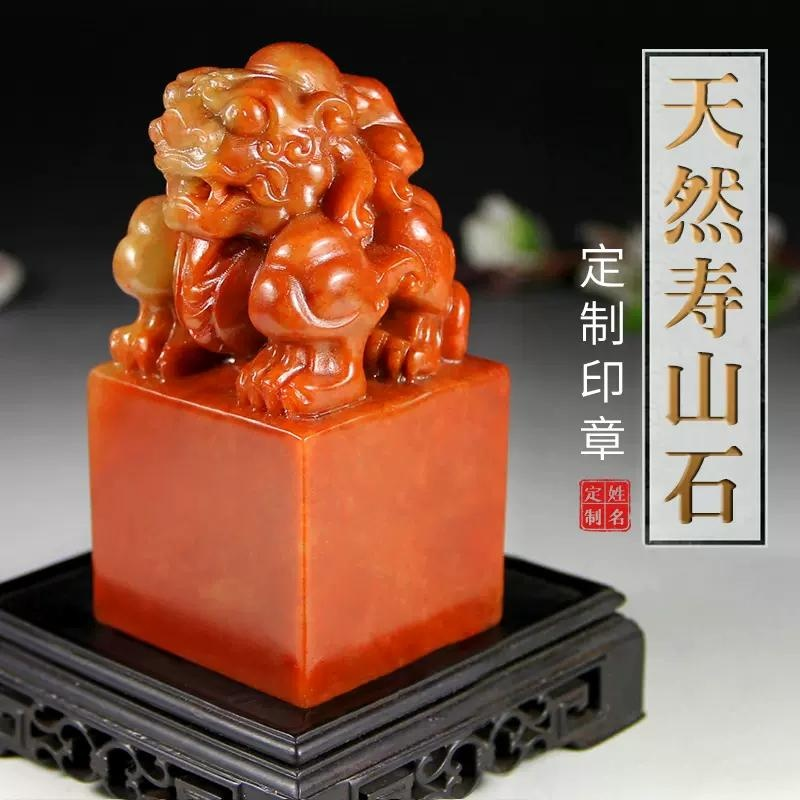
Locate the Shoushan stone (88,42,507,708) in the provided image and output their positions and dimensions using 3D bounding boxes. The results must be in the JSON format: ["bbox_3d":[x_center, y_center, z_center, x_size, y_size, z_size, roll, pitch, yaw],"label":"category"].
[{"bbox_3d":[-0.138,-0.045,1.698,0.672,0.959,0.445,-2,5,-12],"label":"Shoushan stone"}]
